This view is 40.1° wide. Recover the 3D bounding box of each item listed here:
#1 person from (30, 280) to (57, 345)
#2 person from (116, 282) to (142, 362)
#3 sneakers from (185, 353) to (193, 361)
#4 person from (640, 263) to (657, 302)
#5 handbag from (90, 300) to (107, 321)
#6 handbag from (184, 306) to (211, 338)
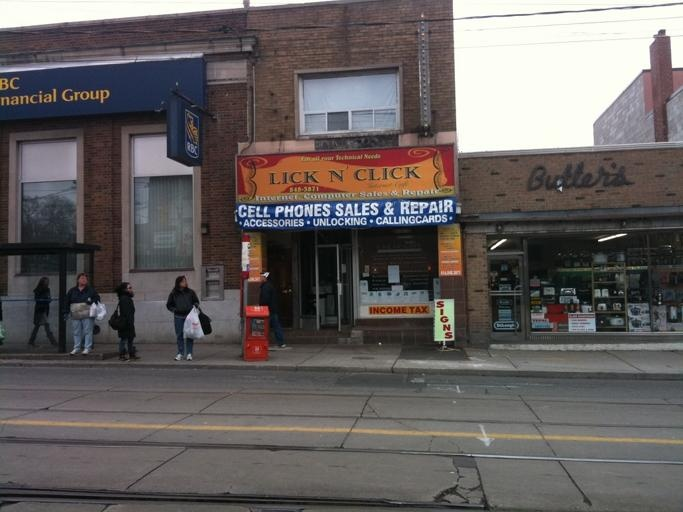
[{"bbox_3d":[-8.112,1.519,25.511,0.753,1.768,0.784,-1,14,-6],"label":"person"},{"bbox_3d":[-5.643,1.765,24.638,0.469,2.102,1.089,-3,14,-12],"label":"person"},{"bbox_3d":[-4.000,2.655,24.566,0.212,0.190,0.483,1,0,-4],"label":"sneakers"},{"bbox_3d":[8.761,0.823,26.668,0.550,1.051,0.312,3,14,9],"label":"person"},{"bbox_3d":[-6.364,1.450,24.493,0.278,0.475,0.484,13,18,41],"label":"handbag"},{"bbox_3d":[-3.733,1.776,24.172,0.675,0.864,0.416,-2,14,-11],"label":"handbag"}]
